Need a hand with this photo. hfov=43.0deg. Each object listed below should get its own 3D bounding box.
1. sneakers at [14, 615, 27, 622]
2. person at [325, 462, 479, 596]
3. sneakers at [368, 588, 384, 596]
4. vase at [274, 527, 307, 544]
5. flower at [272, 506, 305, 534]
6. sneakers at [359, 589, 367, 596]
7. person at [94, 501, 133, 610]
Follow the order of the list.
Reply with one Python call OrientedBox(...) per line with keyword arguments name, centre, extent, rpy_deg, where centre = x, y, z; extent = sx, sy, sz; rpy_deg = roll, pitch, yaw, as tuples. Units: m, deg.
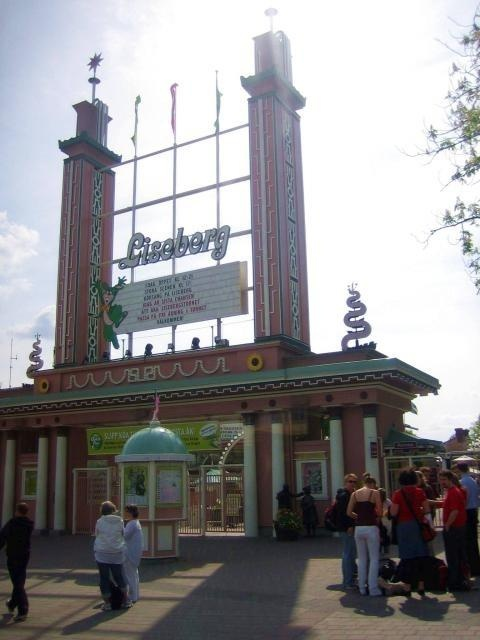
OrientedBox(name="sneakers", centre=(-2.622, 3.600, 7.355), extent=(0.134, 0.078, 0.224), rpy_deg=(1, -12, -17))
OrientedBox(name="person", centre=(1.906, 2.877, 8.140), extent=(1.004, 1.526, 1.560), rpy_deg=(6, -15, -36))
OrientedBox(name="sneakers", centre=(1.710, 3.464, 7.733), extent=(0.130, 0.096, 0.078), rpy_deg=(-5, -7, 10))
OrientedBox(name="vase", centre=(1.371, 5.944, 16.970), extent=(0.714, 0.442, 1.510), rpy_deg=(-4, -11, 8))
OrientedBox(name="flower", centre=(1.329, 5.658, 16.917), extent=(0.705, 0.633, 0.691), rpy_deg=(6, -8, -41))
OrientedBox(name="sneakers", centre=(1.587, 3.507, 7.829), extent=(0.096, 0.071, 0.143), rpy_deg=(-4, -12, 10))
OrientedBox(name="person", centre=(-1.627, 3.040, 7.878), extent=(0.447, 1.335, 0.688), rpy_deg=(0, -12, -10))
